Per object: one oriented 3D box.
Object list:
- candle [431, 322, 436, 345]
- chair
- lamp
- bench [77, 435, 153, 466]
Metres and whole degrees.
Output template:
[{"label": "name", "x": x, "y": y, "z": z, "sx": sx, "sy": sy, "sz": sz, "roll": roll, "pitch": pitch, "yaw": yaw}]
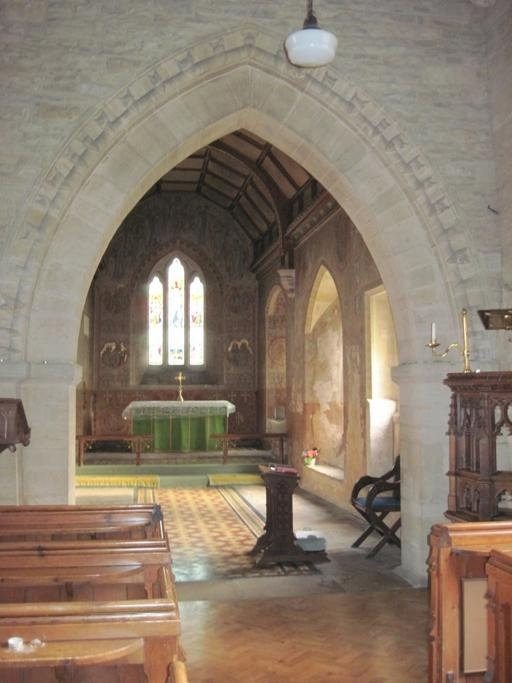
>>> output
[{"label": "candle", "x": 1.089, "y": -0.051, "z": 3.701, "sx": 0.014, "sy": 0.137, "sz": 0.155, "roll": -3, "pitch": -7, "yaw": 23}, {"label": "chair", "x": 1.205, "y": 1.625, "z": 6.102, "sx": 0.466, "sy": 0.933, "sz": 1.458, "roll": -1, "pitch": -6, "yaw": 12}, {"label": "lamp", "x": 0.294, "y": -1.700, "z": 3.272, "sx": 0.256, "sy": 0.355, "sz": 0.179, "roll": 1, "pitch": -6, "yaw": -7}, {"label": "bench", "x": -2.813, "y": 2.098, "z": 12.125, "sx": 1.357, "sy": 0.530, "sz": 2.883, "roll": 1, "pitch": -6, "yaw": -11}]
